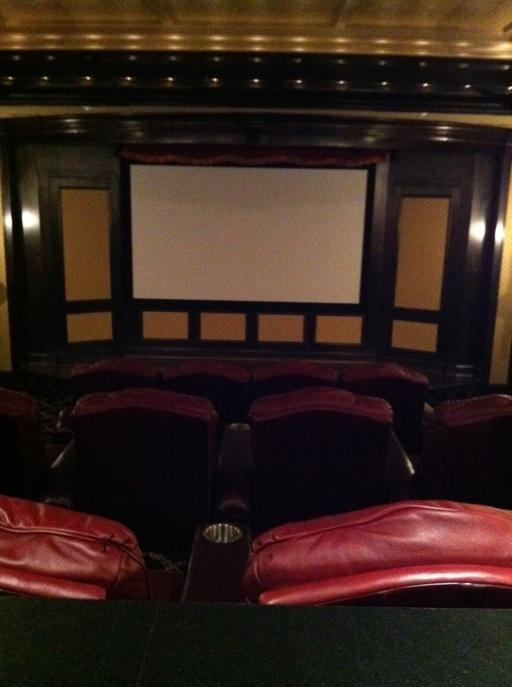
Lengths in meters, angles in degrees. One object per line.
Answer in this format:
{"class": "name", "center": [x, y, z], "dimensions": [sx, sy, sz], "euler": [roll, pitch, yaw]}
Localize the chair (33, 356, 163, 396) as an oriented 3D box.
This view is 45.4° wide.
{"class": "chair", "center": [-0.944, 0.181, 3.390], "dimensions": [0.555, 0.192, 0.295], "euler": [3, 4, -9]}
